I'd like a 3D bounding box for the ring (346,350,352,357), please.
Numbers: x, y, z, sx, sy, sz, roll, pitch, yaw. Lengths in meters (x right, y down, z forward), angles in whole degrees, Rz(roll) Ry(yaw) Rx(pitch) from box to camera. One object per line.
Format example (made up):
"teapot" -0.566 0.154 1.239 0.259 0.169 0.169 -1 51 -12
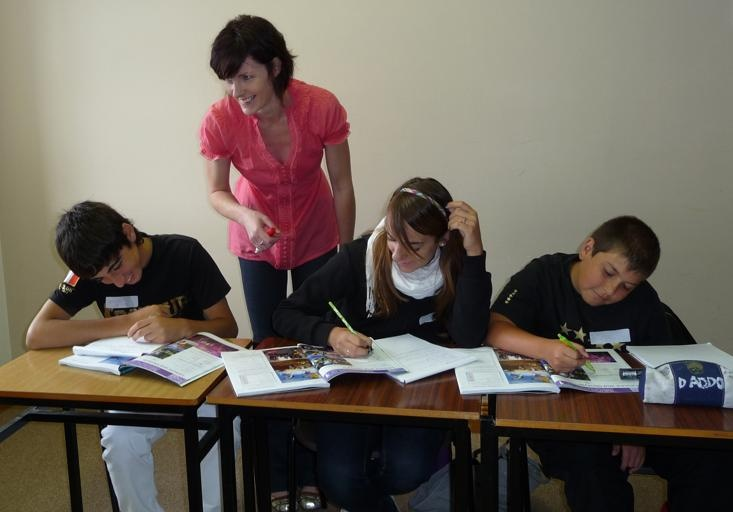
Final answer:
"ring" -0.064 0.354 1.962 0.016 0.023 0.006 -23 -8 13

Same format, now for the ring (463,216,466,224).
"ring" 0.376 -0.134 2.053 0.016 0.024 0.016 -3 16 1
